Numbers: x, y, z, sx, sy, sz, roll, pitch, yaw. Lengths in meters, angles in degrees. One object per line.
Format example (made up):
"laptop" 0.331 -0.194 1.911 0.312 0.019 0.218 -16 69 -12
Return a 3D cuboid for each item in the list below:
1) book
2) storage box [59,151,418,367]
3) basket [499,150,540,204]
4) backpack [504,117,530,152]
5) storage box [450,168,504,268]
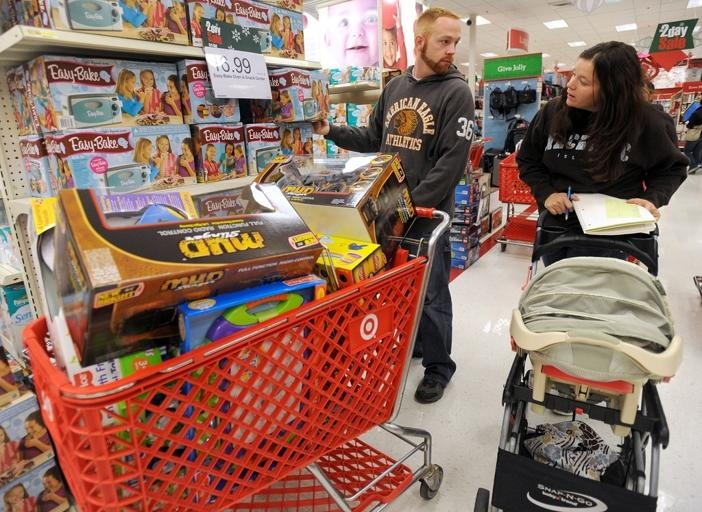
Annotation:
"book" 1.320 -0.200 2.355 0.257 0.059 0.251 -6 38 -1
"storage box" -0.335 -0.087 1.444 1.081 0.440 0.491 -23 27 -35
"basket" 1.943 -0.880 5.035 0.601 0.578 0.371 -5 4 -2
"backpack" 3.063 -2.189 8.366 0.461 0.650 0.651 -1 16 12
"storage box" 1.308 -0.363 4.839 0.521 0.855 0.883 20 39 26
